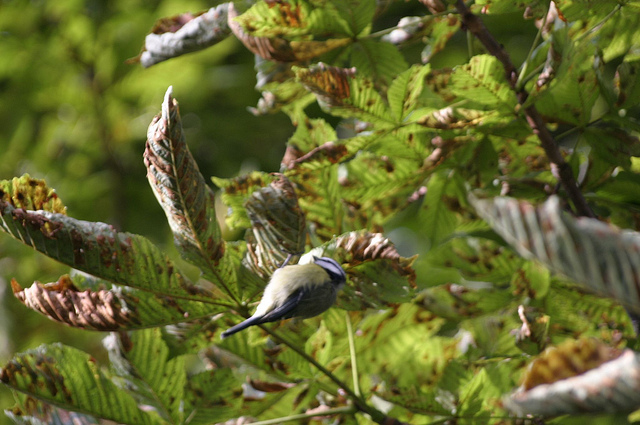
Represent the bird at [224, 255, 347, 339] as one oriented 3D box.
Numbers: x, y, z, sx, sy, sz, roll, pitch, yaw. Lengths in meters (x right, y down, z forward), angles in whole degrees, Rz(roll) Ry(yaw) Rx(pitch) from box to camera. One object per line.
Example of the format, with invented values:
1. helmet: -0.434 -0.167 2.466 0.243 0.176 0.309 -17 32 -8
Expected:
1. bird: -0.065 0.146 1.812 0.214 0.133 0.121 -7 15 -18
